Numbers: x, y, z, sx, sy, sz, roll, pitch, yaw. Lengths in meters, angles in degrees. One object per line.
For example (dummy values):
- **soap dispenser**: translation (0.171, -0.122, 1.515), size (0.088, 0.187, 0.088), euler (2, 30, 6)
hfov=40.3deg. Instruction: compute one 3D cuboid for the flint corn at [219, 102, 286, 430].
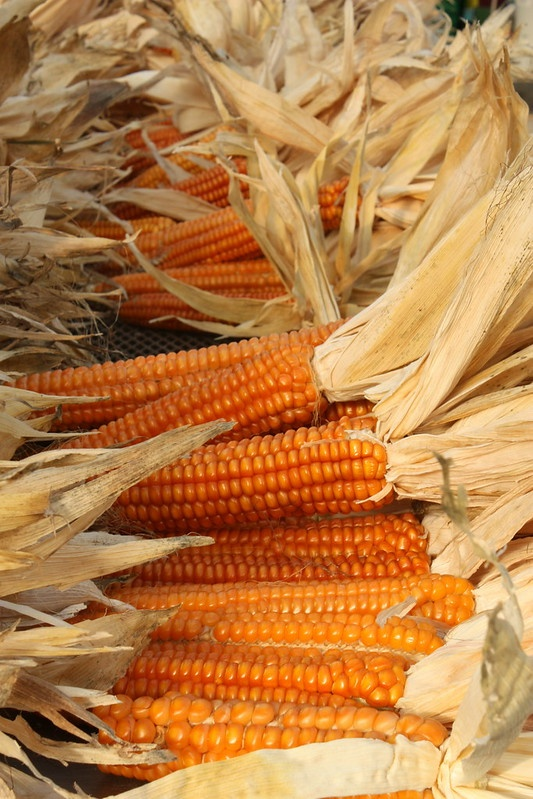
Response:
- **flint corn**: translation (-0.027, -0.434, 2.161), size (0.155, 0.563, 0.159), euler (0, 33, 8)
